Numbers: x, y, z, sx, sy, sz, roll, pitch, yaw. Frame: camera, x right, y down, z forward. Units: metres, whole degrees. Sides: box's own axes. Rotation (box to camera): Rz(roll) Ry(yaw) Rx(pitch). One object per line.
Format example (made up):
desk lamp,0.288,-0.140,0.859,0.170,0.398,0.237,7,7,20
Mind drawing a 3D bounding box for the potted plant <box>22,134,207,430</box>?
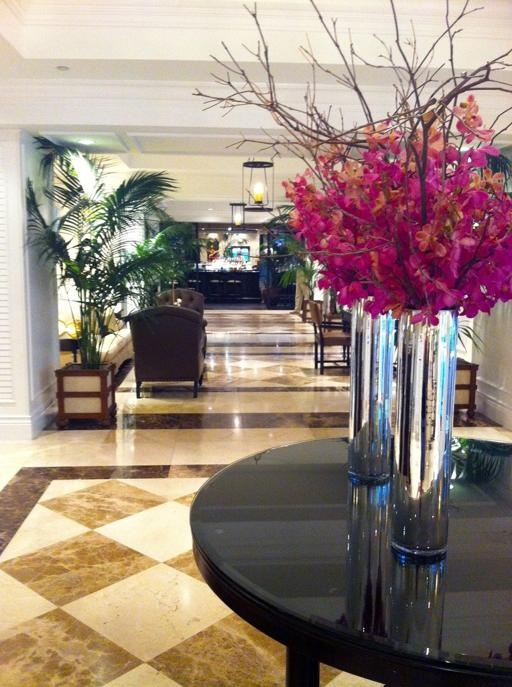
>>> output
potted plant,-1.429,-0.687,5.684,1.371,2.614,2.514,-2,7,-10
